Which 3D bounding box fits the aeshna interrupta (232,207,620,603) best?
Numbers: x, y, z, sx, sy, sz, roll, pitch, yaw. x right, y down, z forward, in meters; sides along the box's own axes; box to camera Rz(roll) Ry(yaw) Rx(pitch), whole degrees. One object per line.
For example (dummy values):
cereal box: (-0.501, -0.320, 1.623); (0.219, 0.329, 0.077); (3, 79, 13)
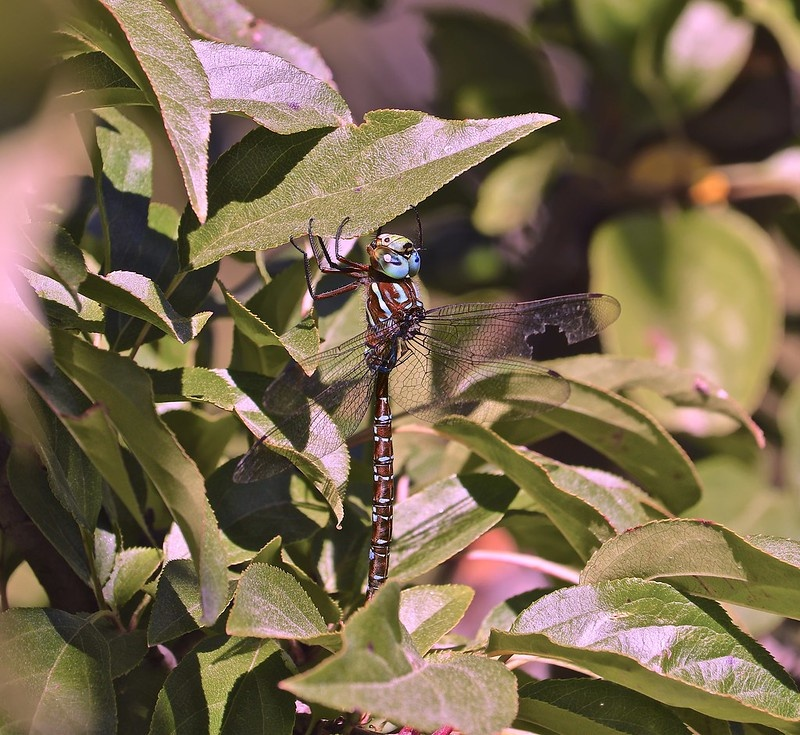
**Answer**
aeshna interrupta: (0.017, 0.025, 1.354); (0.487, 0.500, 0.243); (-24, 6, -21)
